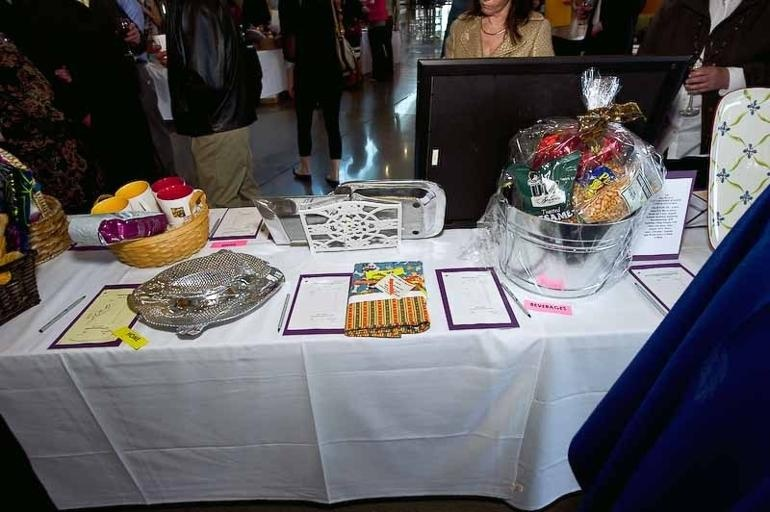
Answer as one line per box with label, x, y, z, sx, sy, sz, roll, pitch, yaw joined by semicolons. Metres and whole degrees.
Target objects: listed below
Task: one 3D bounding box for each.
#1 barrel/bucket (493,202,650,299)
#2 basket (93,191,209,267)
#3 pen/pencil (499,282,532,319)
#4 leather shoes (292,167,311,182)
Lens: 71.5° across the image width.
barrel/bucket;0.522;0.000;1.558;0.342;0.217;0.303;-10;38;-5
basket;-0.774;-0.068;1.806;0.292;0.163;0.234;-11;43;-9
pen/pencil;0.401;0.142;1.634;0.015;0.025;0.152;-28;42;-6
leather shoes;-0.642;-0.617;4.069;0.075;0.061;0.164;-13;38;-40
